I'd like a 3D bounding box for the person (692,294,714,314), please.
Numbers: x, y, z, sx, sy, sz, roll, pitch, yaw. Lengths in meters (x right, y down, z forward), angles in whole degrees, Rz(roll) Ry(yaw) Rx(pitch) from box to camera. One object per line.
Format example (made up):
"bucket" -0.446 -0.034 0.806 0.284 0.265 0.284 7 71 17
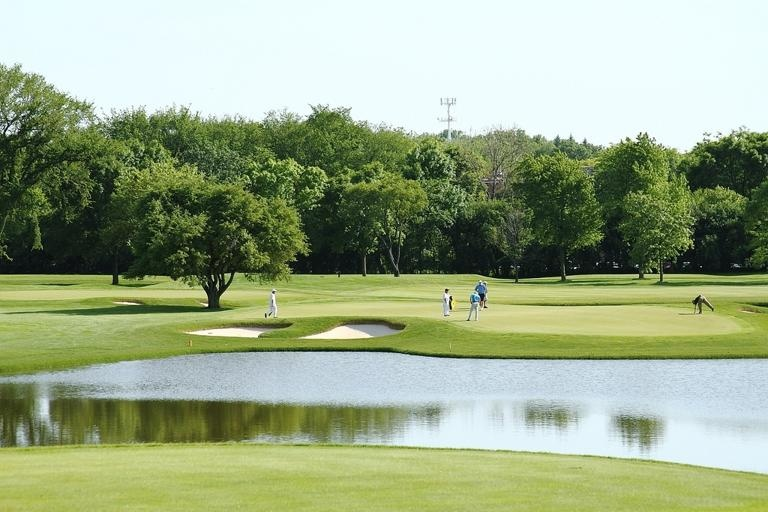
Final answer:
"person" 26.893 4.216 111.942 1.258 0.725 2.219 -5 -27 7
